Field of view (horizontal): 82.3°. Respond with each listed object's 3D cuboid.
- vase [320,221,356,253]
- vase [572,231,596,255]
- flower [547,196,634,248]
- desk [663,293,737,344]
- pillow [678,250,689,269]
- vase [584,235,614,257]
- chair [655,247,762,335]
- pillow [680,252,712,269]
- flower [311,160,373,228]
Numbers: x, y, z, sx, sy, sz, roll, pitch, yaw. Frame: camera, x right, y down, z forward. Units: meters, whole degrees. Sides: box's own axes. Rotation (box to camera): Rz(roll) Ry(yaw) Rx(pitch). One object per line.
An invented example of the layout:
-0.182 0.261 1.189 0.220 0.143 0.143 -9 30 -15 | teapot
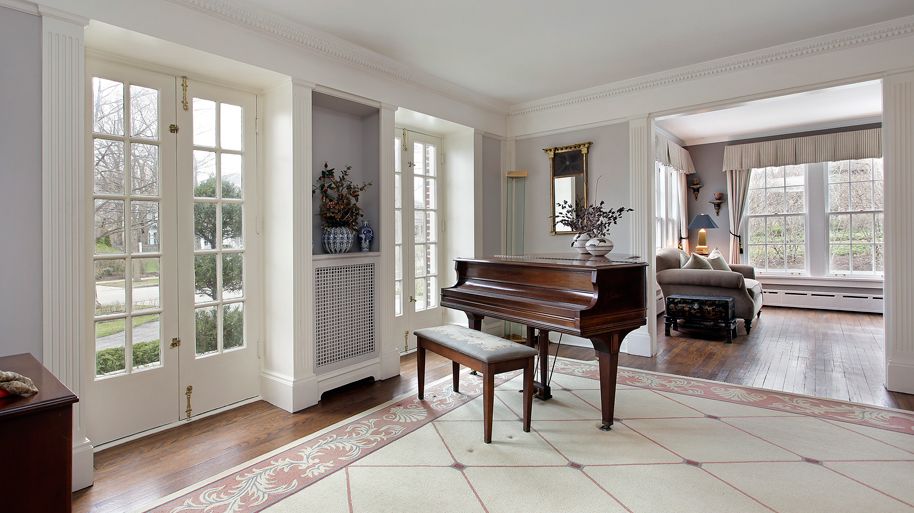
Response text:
-1.374 -0.223 5.995 0.382 0.333 0.361 1 -4 -28 | vase
1.432 -0.155 5.887 0.257 0.193 0.236 1 -2 6 | vase
1.713 -0.423 6.158 0.906 0.443 0.858 4 -3 -32 | flower
3.692 0.881 7.890 1.010 0.633 0.602 5 11 26 | desk
3.910 0.045 8.983 0.098 0.271 0.325 -13 -15 32 | pillow
1.576 -0.122 5.734 0.256 0.126 0.247 -2 0 29 | vase
3.968 0.561 8.596 1.610 1.250 1.620 -4 -5 36 | chair
3.932 0.092 8.594 0.391 0.112 0.397 2 13 14 | pillow
-1.393 -0.702 6.167 0.717 0.761 0.718 -2 1 -16 | flower
